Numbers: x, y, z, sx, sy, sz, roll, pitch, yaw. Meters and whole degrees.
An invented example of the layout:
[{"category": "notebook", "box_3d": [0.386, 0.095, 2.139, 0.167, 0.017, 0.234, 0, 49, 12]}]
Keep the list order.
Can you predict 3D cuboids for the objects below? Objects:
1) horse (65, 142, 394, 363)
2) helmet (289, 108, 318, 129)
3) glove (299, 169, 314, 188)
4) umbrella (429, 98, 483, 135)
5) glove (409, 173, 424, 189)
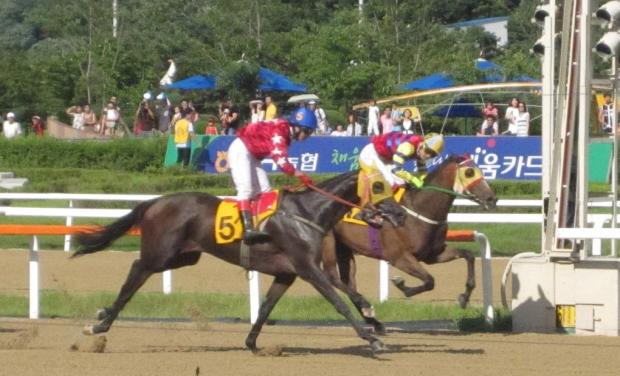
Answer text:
[{"category": "horse", "box_3d": [-1.836, 1.482, 33.803, 7.716, 4.412, 1.222, 4, 0, 12]}, {"category": "helmet", "box_3d": [-0.132, -1.592, 33.493, 0.573, 0.328, 0.443, 17, 6, -12]}, {"category": "glove", "box_3d": [-0.055, -0.187, 33.327, 0.127, 0.231, 0.395, -21, -42, 21]}, {"category": "umbrella", "box_3d": [4.552, -2.247, 44.546, 1.028, 1.206, 2.051, 0, -1, -14]}, {"category": "glove", "box_3d": [2.575, -0.178, 34.394, 0.330, 0.298, 0.114, 10, -29, 12]}]
